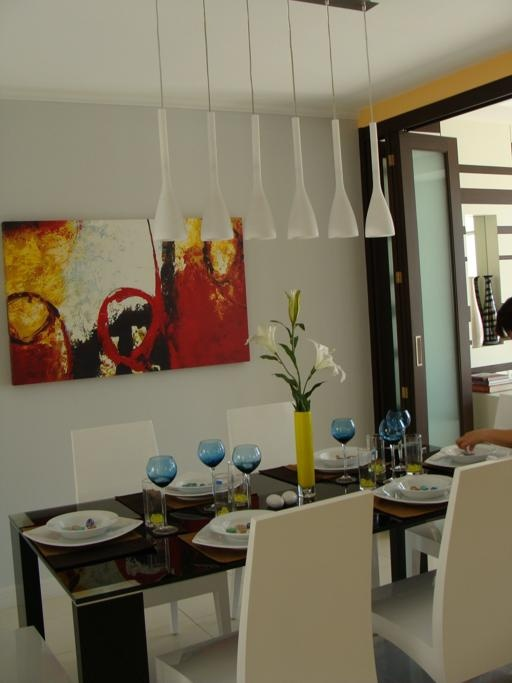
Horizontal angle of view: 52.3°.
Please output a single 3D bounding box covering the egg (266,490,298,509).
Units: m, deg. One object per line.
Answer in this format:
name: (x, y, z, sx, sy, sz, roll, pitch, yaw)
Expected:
egg: (0.076, 0.475, 1.598, 0.077, 0.037, 0.044, -4, 2, -33)
